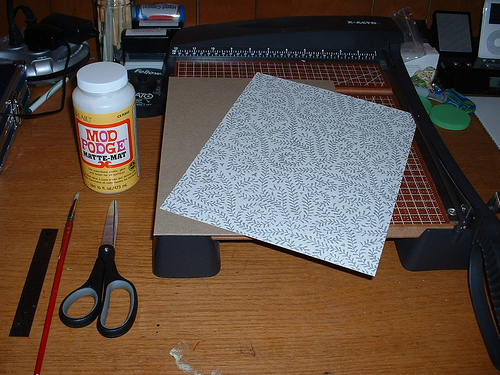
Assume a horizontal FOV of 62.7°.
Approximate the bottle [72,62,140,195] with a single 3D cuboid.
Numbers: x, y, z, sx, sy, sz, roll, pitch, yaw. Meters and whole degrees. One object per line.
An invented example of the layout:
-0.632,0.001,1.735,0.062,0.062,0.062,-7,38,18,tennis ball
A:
-0.259,-0.102,0.743,0.113,0.208,0.111,5,32,-3,bottle
